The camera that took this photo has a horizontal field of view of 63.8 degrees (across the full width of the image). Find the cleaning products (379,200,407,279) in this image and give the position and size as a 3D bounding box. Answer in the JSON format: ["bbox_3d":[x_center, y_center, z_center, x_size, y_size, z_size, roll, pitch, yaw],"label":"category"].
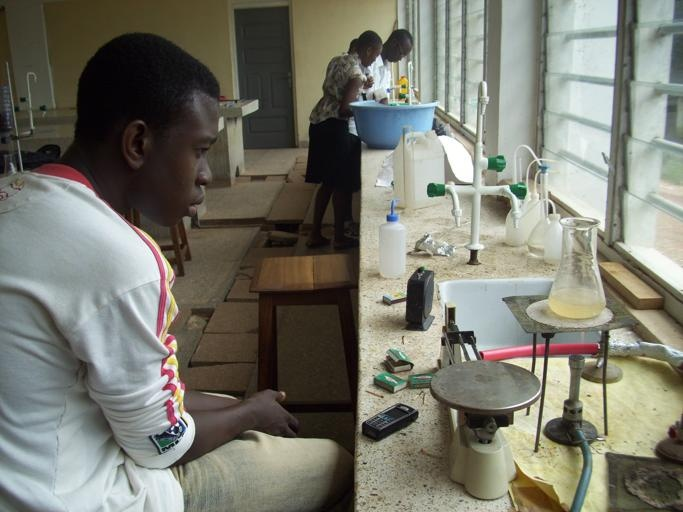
[{"bbox_3d":[0.177,-0.032,1.869,0.086,0.201,0.100,6,21,31],"label":"cleaning products"}]

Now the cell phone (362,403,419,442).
[{"bbox_3d":[0.098,0.353,1.206,0.108,0.036,0.058,-15,19,-35],"label":"cell phone"}]

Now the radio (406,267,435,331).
[{"bbox_3d":[0.226,0.130,1.574,0.073,0.143,0.132,2,21,11],"label":"radio"}]

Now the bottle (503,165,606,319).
[{"bbox_3d":[0.490,-0.034,1.260,0.184,0.363,0.191,-2,20,1],"label":"bottle"}]

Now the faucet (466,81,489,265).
[{"bbox_3d":[0.472,-0.289,1.911,0.062,0.602,0.204,0,18,15],"label":"faucet"}]

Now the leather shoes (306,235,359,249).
[{"bbox_3d":[-0.080,-0.107,4.650,0.432,0.123,0.163,-3,2,13],"label":"leather shoes"}]

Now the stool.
[{"bbox_3d":[-0.060,0.312,2.672,0.596,0.885,0.584,1,13,13],"label":"stool"}]

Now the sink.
[{"bbox_3d":[0.493,0.171,1.782,0.337,0.217,0.277,-1,14,-2],"label":"sink"}]
